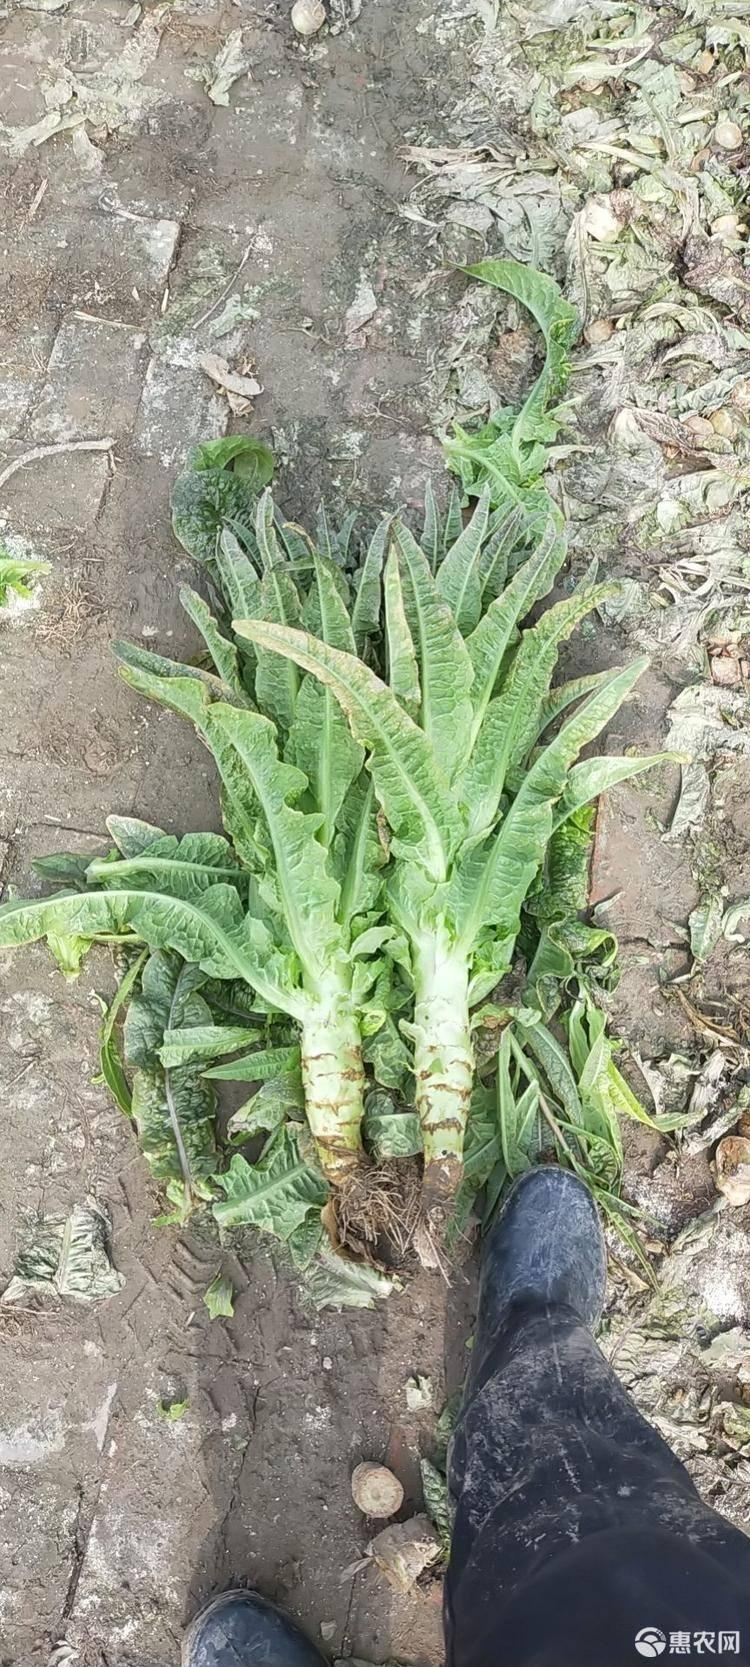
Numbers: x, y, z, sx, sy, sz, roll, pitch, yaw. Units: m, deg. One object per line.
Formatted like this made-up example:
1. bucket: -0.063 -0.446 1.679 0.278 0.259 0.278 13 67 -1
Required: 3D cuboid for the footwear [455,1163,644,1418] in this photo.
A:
1. footwear: 0.329 0.814 2.921 0.189 0.354 0.561 6 84 10
